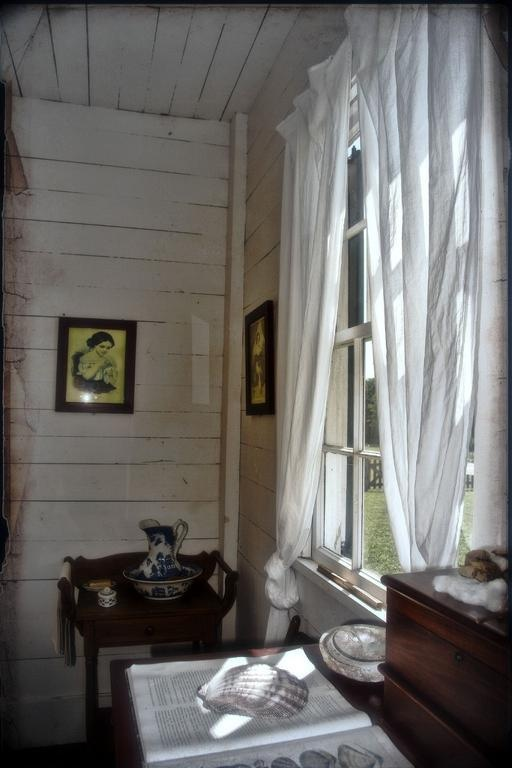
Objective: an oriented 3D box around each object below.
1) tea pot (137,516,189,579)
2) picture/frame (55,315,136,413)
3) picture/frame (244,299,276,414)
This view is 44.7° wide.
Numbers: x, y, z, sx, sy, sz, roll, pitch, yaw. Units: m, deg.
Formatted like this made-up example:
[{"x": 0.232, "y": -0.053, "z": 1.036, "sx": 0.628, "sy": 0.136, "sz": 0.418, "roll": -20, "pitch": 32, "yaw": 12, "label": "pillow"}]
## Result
[{"x": -0.110, "y": 0.193, "z": 0.737, "sx": 0.054, "sy": 0.081, "sz": 0.048, "roll": 8, "pitch": -13, "yaw": -41, "label": "tea pot"}, {"x": -0.175, "y": -0.020, "z": 0.686, "sx": 0.079, "sy": 0.137, "sz": 0.009, "roll": 5, "pitch": -41, "yaw": -20, "label": "picture/frame"}, {"x": 0.006, "y": -0.031, "z": 0.900, "sx": 0.009, "sy": 0.157, "sz": 0.089, "roll": 1, "pitch": -5, "yaw": -22, "label": "picture/frame"}]
